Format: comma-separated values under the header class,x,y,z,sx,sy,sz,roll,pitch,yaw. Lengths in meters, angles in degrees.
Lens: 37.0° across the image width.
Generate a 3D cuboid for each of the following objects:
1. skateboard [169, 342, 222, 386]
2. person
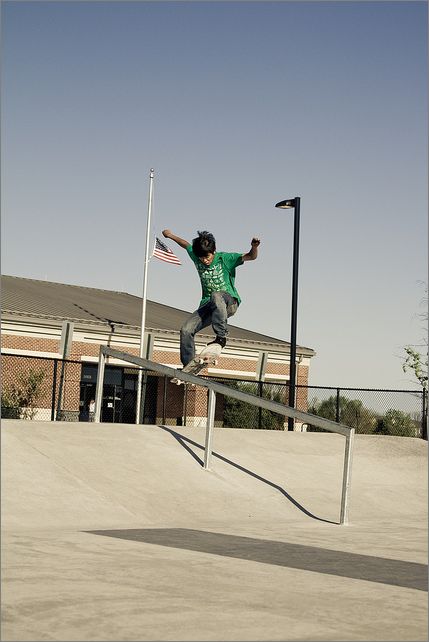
class,x,y,z,sx,sy,sz,roll,pitch,yaw
skateboard,-0.273,0.682,9.223,0.323,0.192,1.353,32,-32,-10
person,0.013,-0.430,8.767,1.586,2.332,0.812,-21,-33,40
